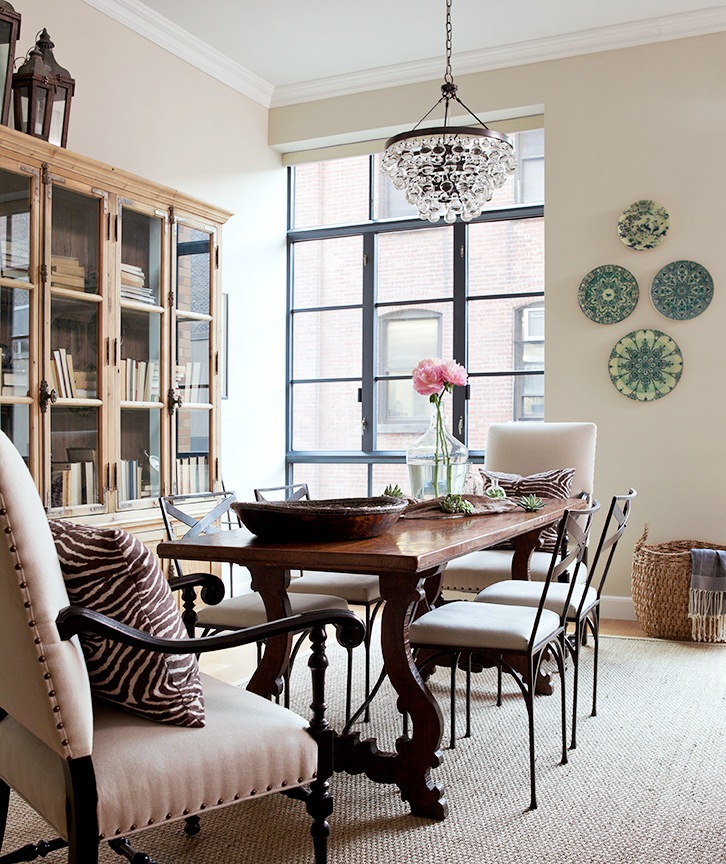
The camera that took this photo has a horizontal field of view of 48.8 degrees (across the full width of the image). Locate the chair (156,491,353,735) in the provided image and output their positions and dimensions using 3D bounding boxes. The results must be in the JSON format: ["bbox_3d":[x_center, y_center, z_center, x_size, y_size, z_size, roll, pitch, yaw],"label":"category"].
[{"bbox_3d":[-0.344,0.477,2.510,0.444,0.592,0.366,-3,-1,29],"label":"chair"}]

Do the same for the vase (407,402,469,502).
[{"bbox_3d":[0.307,0.066,3.316,0.274,0.444,0.262,3,22,11],"label":"vase"}]

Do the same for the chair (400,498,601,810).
[{"bbox_3d":[0.381,0.575,2.212,0.446,0.670,0.371,-2,-2,26],"label":"chair"}]

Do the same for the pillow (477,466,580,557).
[{"bbox_3d":[0.669,0.349,3.507,0.444,0.416,0.163,3,15,-19],"label":"pillow"}]
